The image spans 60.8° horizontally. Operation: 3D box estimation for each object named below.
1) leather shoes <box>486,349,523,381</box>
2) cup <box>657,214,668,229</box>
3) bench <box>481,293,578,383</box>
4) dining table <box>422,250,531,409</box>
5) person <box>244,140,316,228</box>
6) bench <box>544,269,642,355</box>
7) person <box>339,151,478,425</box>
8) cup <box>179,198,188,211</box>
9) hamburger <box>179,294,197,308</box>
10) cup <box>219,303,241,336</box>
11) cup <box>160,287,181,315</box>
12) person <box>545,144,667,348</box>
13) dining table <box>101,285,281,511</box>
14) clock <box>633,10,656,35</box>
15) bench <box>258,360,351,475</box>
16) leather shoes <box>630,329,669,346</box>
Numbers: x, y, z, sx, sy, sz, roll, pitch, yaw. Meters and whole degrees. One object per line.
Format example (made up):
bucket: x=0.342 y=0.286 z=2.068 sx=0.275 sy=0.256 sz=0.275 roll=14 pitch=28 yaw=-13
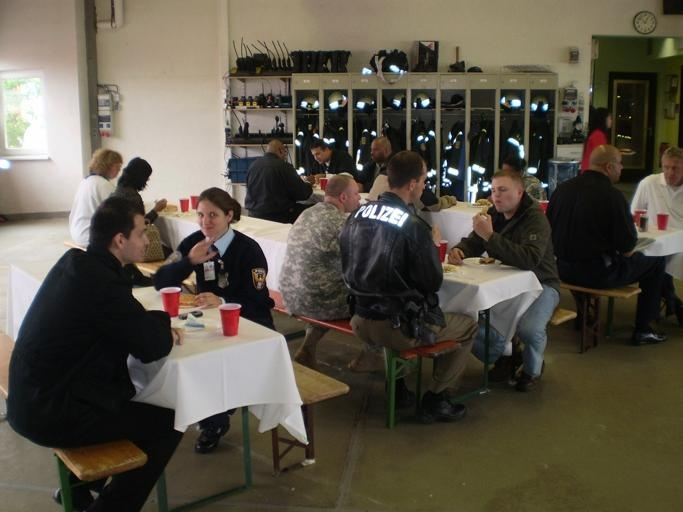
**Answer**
leather shoes: x=1.231 y=0.814 z=4.354 sx=0.129 sy=0.167 sz=0.388 roll=25 pitch=53 yaw=32
cup: x=2.832 y=-0.311 z=5.185 sx=0.125 sy=0.143 sz=0.128 roll=0 pitch=-2 yaw=0
bench: x=1.345 y=0.612 z=4.229 sx=0.427 sy=0.769 sz=0.464 roll=12 pitch=6 yaw=-33
dining table: x=0.928 y=0.456 z=3.928 sx=0.493 sy=0.485 sz=0.665 roll=-7 pitch=12 yaw=-41
person: x=-0.762 y=-0.851 z=6.791 sx=0.688 sy=0.971 sz=0.667 roll=10 pitch=14 yaw=25
bench: x=2.108 y=0.461 z=4.924 sx=0.553 sy=0.559 sz=1.128 roll=5 pitch=10 yaw=34
person: x=0.397 y=0.236 z=3.611 sx=0.831 sy=1.713 sz=0.373 roll=2 pitch=15 yaw=12
cup: x=-1.707 y=-0.555 z=6.292 sx=0.140 sy=0.157 sz=0.144 roll=-1 pitch=1 yaw=0
hamburger: x=-0.895 y=0.259 z=3.371 sx=0.070 sy=0.027 sz=0.086 roll=-1 pitch=14 yaw=-21
cup: x=-0.550 y=0.314 z=2.940 sx=0.137 sy=0.153 sz=0.136 roll=1 pitch=3 yaw=0
cup: x=-0.912 y=0.237 z=3.107 sx=0.137 sy=0.147 sz=0.141 roll=-2 pitch=-3 yaw=0
person: x=2.281 y=-0.105 z=5.019 sx=0.938 sy=1.655 sz=0.928 roll=-7 pitch=14 yaw=-18
dining table: x=-0.695 y=0.533 z=2.859 sx=0.813 sy=0.593 sz=1.165 roll=-7 pitch=17 yaw=-32
clock: x=5.139 y=-3.985 z=9.885 sx=0.361 sy=0.374 sz=0.040 roll=-5 pitch=-2 yaw=-1
bench: x=-0.210 y=0.870 z=3.389 sx=0.475 sy=0.448 sz=0.878 roll=-6 pitch=13 yaw=-28
leather shoes: x=2.613 y=0.691 z=4.928 sx=0.273 sy=0.120 sz=0.118 roll=-7 pitch=10 yaw=-10
